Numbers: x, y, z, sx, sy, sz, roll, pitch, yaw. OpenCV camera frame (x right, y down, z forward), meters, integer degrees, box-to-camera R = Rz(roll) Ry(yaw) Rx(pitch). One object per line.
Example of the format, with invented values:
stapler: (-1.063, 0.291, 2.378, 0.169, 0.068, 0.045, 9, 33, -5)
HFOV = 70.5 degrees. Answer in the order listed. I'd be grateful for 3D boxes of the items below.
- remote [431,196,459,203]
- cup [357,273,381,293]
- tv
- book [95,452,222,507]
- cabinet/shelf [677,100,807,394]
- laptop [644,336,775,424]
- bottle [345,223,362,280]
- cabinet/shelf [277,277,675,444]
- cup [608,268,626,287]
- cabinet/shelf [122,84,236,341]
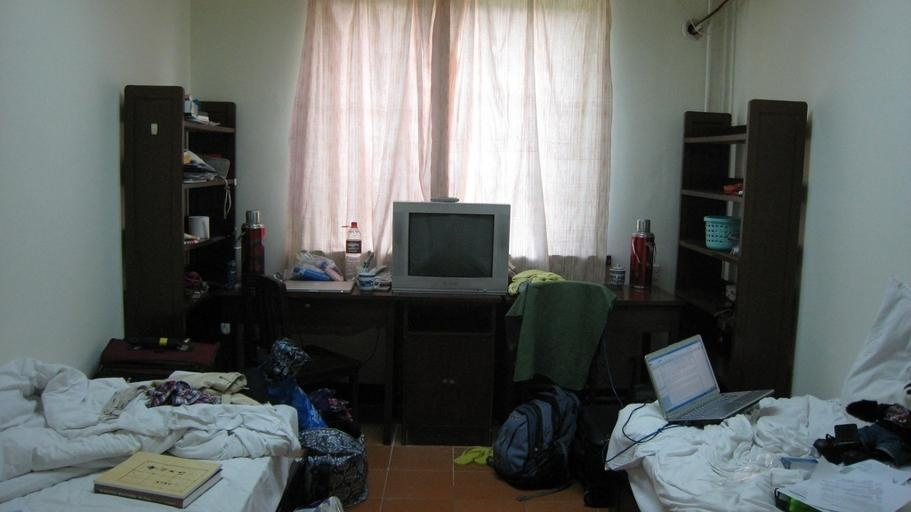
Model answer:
remote: (-0.071, -0.424, 4.873, 0.209, 0.031, 0.310, 0, 6, 1)
cup: (-0.638, 0.197, 4.767, 0.154, 0.102, 0.117, -3, 6, -24)
tv: (-0.017, -0.054, 4.997, 1.167, 0.773, 0.621, 1, 1, 1)
book: (-1.512, 1.137, 3.286, 0.562, 0.189, 0.241, 1, 6, 10)
cabinet/shelf: (2.072, -0.059, 4.737, 0.517, 2.040, 0.842, -1, 7, -10)
laptop: (1.547, 0.751, 3.900, 0.670, 0.367, 0.481, -8, 1, -42)
bottle: (-0.790, -0.043, 4.979, 0.135, 0.439, 0.184, -1, 7, -10)
cabinet/shelf: (0.311, 0.774, 5.081, 3.143, 1.144, 0.822, 0, 10, 1)
cup: (1.259, 0.164, 5.008, 0.146, 0.138, 0.139, 0, 0, 0)
cabinet/shelf: (-1.946, -0.259, 4.591, 0.522, 1.787, 1.090, 1, 7, 5)
